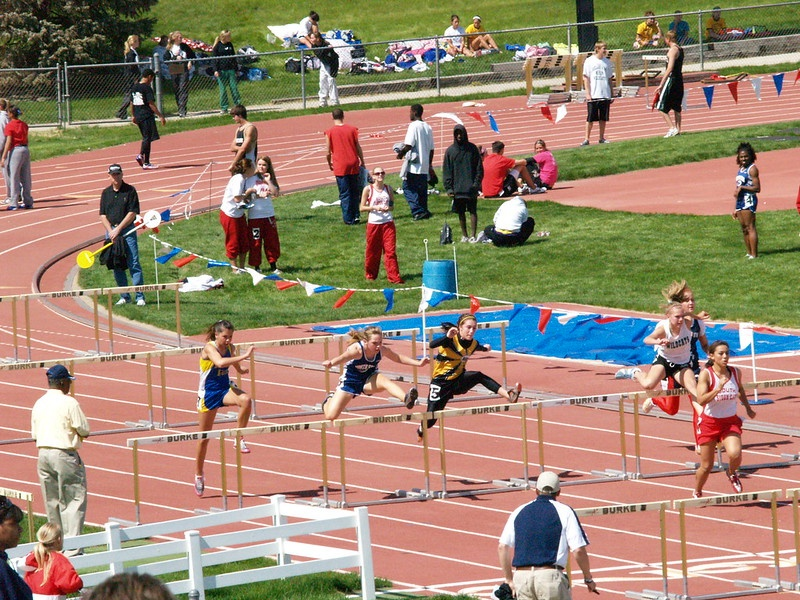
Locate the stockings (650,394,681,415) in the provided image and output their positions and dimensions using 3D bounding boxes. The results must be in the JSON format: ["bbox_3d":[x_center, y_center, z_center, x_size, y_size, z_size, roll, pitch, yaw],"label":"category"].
[{"bbox_3d":[3.749,1.467,24.145,0.405,0.277,0.237,5,28,5],"label":"stockings"}]

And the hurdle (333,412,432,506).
[{"bbox_3d":[-0.195,2.153,22.970,1.423,1.228,0.576,-2,-3,-11],"label":"hurdle"}]

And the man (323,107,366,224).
[{"bbox_3d":[-1.030,-2.491,32.786,0.696,2.344,1.627,-4,10,-2],"label":"man"}]

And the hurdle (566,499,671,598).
[{"bbox_3d":[2.731,3.120,21.392,1.285,1.319,0.071,-1,13,2],"label":"hurdle"}]

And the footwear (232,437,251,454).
[{"bbox_3d":[-2.186,2.032,24.037,0.174,0.213,0.504,-6,9,-30],"label":"footwear"}]

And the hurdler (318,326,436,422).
[{"bbox_3d":[-0.584,0.994,24.093,1.580,1.196,2.189,3,-8,-43],"label":"hurdler"}]

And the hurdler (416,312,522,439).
[{"bbox_3d":[0.909,0.965,24.547,1.351,1.432,2.435,4,-16,-26],"label":"hurdler"}]

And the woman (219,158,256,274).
[{"bbox_3d":[-2.874,-1.400,30.377,0.958,2.395,1.021,-2,46,-6],"label":"woman"}]

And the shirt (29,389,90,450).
[{"bbox_3d":[-4.341,1.488,21.758,0.833,0.768,0.520,-2,1,30],"label":"shirt"}]

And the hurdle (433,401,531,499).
[{"bbox_3d":[1.222,2.145,24.123,1.225,0.377,1.593,-6,15,-12],"label":"hurdle"}]

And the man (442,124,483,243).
[{"bbox_3d":[1.187,-2.148,32.011,0.729,2.192,1.003,-3,10,1],"label":"man"}]

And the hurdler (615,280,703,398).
[{"bbox_3d":[3.882,0.745,24.276,1.048,1.551,2.106,-1,16,-12],"label":"hurdler"}]

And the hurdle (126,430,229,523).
[{"bbox_3d":[-2.914,2.337,22.887,1.596,1.140,1.039,-9,-14,29],"label":"hurdle"}]

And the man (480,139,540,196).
[{"bbox_3d":[1.986,-2.577,34.061,0.925,1.175,1.434,1,11,21],"label":"man"}]

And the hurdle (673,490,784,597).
[{"bbox_3d":[4.178,3.099,21.733,1.198,1.120,0.623,-2,-6,-3],"label":"hurdle"}]

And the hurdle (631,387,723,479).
[{"bbox_3d":[3.775,1.955,23.976,0.920,0.805,1.692,2,14,-34],"label":"hurdle"}]

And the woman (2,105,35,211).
[{"bbox_3d":[-7.948,-2.758,35.367,0.532,1.958,1.334,-6,11,-13],"label":"woman"}]

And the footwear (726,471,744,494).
[{"bbox_3d":[4.538,2.405,23.001,0.128,0.376,0.159,-20,-4,-15],"label":"footwear"}]

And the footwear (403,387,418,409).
[{"bbox_3d":[0.142,1.370,23.918,0.151,0.318,0.145,5,22,-40],"label":"footwear"}]

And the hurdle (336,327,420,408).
[{"bbox_3d":[-0.368,0.947,24.086,0.939,0.737,1.272,4,-13,-35],"label":"hurdle"}]

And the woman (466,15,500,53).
[{"bbox_3d":[2.435,-7.655,49.927,1.104,1.094,0.601,11,23,41],"label":"woman"}]

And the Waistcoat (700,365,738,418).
[{"bbox_3d":[4.240,1.204,22.779,0.609,0.761,0.422,2,11,2],"label":"Waistcoat"}]

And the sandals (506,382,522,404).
[{"bbox_3d":[1.616,1.302,24.125,0.155,0.363,0.126,27,18,21],"label":"sandals"}]

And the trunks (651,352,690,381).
[{"bbox_3d":[3.828,0.900,24.179,0.355,0.349,0.182,11,42,-12],"label":"trunks"}]

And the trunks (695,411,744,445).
[{"bbox_3d":[4.250,1.703,22.839,0.729,0.443,0.381,-5,-10,0],"label":"trunks"}]

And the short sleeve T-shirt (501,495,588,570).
[{"bbox_3d":[1.684,2.684,20.018,1.070,0.860,0.503,1,0,20],"label":"short sleeve T-shirt"}]

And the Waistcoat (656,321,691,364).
[{"bbox_3d":[3.857,0.579,24.080,0.593,0.743,0.433,-1,3,-13],"label":"Waistcoat"}]

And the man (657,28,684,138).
[{"bbox_3d":[5.929,-4.652,37.525,0.586,2.334,1.878,-2,10,9],"label":"man"}]

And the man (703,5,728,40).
[{"bbox_3d":[8.984,-7.760,48.752,0.870,1.179,1.083,-1,4,-3],"label":"man"}]

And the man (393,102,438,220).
[{"bbox_3d":[0.305,-2.557,32.643,0.664,2.343,1.706,-3,10,1],"label":"man"}]
